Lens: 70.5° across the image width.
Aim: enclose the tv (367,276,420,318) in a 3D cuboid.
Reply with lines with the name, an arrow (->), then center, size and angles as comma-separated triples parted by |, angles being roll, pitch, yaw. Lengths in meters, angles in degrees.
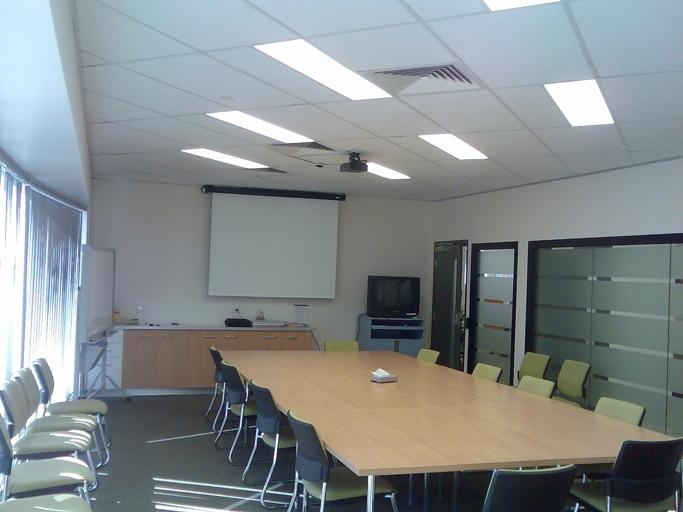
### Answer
tv -> 0.969, 0.753, 9.497 | 1.304, 1.016, 0.682 | 2, 0, -10
